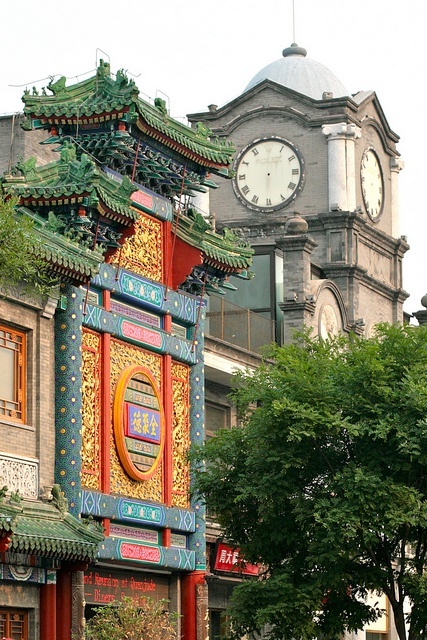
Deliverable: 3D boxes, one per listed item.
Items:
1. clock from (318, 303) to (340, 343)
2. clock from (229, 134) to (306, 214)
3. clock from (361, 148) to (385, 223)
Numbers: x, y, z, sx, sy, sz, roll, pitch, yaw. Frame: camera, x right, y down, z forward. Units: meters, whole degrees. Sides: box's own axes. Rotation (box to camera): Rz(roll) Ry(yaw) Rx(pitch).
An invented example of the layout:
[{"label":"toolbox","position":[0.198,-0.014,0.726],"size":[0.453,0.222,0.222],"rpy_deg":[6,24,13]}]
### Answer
[{"label":"clock","position":[2.770,0.093,54.910],"size":[0.101,1.039,0.814],"rpy_deg":[-7,-13,21]},{"label":"clock","position":[1.533,-4.029,62.496],"size":[2.175,2.627,0.133],"rpy_deg":[1,-14,28]},{"label":"clock","position":[4.481,-3.885,64.022],"size":[0.085,2.062,1.855],"rpy_deg":[-4,-10,25]}]
